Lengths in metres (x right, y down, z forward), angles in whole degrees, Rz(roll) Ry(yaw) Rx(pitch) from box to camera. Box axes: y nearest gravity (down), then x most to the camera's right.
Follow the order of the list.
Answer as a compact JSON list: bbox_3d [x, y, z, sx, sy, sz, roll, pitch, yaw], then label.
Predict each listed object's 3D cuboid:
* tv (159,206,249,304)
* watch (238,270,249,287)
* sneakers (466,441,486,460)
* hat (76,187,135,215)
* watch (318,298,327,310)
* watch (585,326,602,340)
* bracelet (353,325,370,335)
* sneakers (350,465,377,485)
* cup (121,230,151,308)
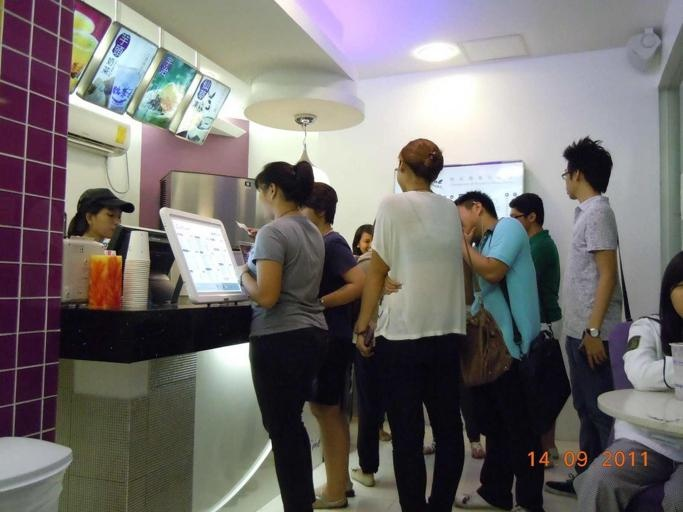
[{"bbox_3d":[-0.712,-0.001,2.603,0.204,0.501,0.549,-6,-9,20],"label":"tv"},{"bbox_3d":[-0.457,0.110,2.349,0.029,0.077,0.063,11,12,-23],"label":"watch"},{"bbox_3d":[0.953,1.389,3.685,0.072,0.133,0.127,0,-19,3],"label":"sneakers"},{"bbox_3d":[-1.419,-0.326,3.124,0.274,0.146,0.184,-2,3,-13],"label":"hat"},{"bbox_3d":[-0.097,0.232,2.623,0.032,0.047,0.021,-5,-8,29],"label":"watch"},{"bbox_3d":[1.337,0.401,2.737,0.041,0.072,0.064,-12,-12,26],"label":"watch"},{"bbox_3d":[0.095,0.342,2.422,0.043,0.020,0.063,1,-38,-2],"label":"bracelet"},{"bbox_3d":[0.126,1.370,3.301,0.072,0.125,0.167,2,6,-37],"label":"sneakers"},{"bbox_3d":[-0.852,0.056,2.138,0.099,0.341,0.108,2,-1,0],"label":"cup"}]
